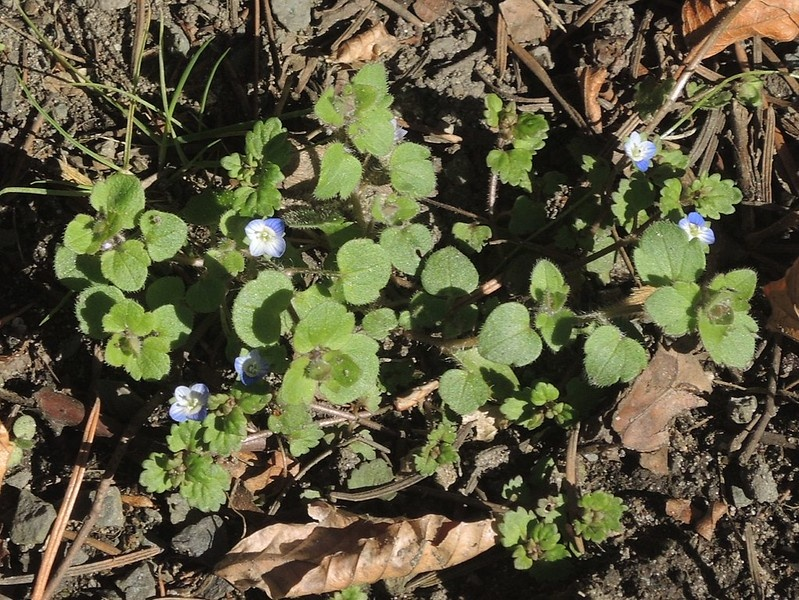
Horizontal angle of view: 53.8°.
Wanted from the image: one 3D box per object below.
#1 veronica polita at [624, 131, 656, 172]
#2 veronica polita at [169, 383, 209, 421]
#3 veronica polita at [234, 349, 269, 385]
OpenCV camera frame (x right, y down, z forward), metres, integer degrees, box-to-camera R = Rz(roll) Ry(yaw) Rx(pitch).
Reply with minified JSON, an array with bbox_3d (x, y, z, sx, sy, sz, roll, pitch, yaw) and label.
[{"bbox_3d":[1.306,-0.812,4.243,0.175,0.229,0.093,3,-11,1],"label":"veronica polita"},{"bbox_3d":[-1.085,0.522,4.076,0.241,0.178,0.097,-1,-3,4],"label":"veronica polita"},{"bbox_3d":[-0.755,0.341,4.017,0.222,0.156,0.087,-3,-2,-20],"label":"veronica polita"}]
